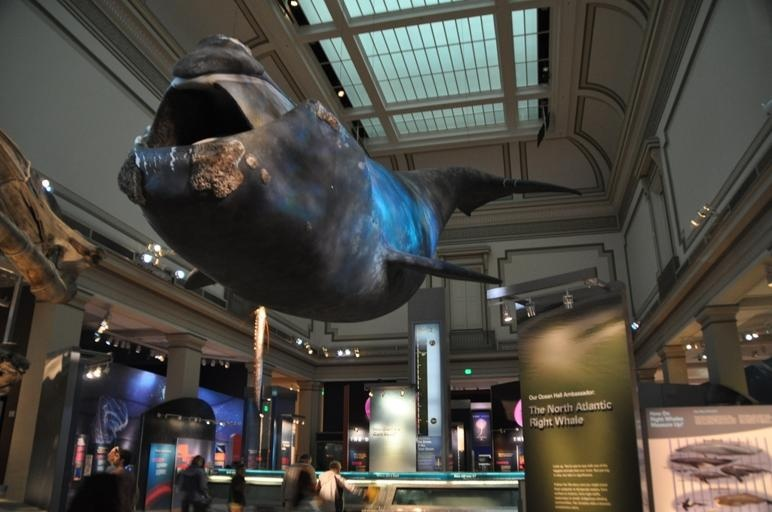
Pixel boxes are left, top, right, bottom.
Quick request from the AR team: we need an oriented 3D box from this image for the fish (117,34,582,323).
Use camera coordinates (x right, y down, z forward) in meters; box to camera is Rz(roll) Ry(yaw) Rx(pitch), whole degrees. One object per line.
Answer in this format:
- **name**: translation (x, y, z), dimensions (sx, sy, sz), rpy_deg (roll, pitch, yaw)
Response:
- **fish**: translation (-0.109, -0.112, 1.830), dimensions (1.004, 0.592, 1.326), rpy_deg (1, -16, 37)

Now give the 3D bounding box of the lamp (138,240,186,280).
- **lamp**: translation (-3.493, 0.074, 7.542), dimensions (0.425, 0.347, 1.221), rpy_deg (5, -13, 1)

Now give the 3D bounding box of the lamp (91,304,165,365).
- **lamp**: translation (-5.493, 1.623, 10.496), dimensions (1.942, 0.501, 1.849), rpy_deg (11, 4, 5)
